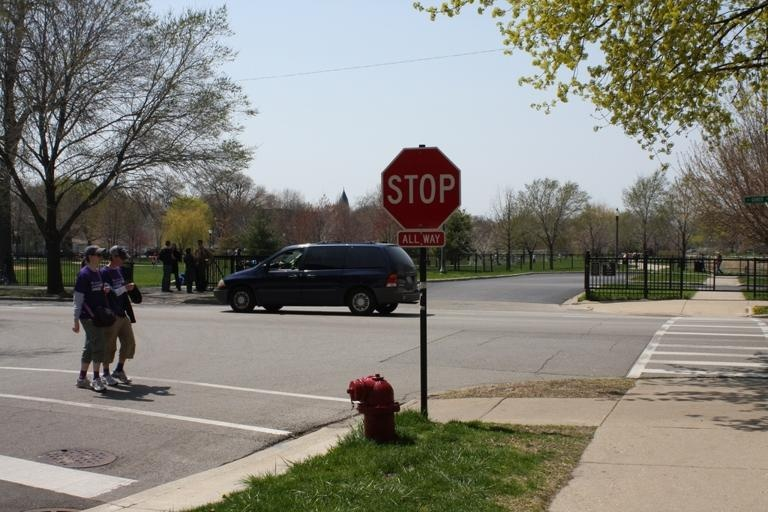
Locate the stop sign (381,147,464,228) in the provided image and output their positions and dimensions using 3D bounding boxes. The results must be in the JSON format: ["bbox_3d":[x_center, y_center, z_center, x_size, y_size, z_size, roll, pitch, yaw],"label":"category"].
[{"bbox_3d":[0.554,-1.040,11.801,1.168,1.278,0.548,0,6,1],"label":"stop sign"}]

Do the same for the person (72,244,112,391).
[{"bbox_3d":[-5.443,1.167,14.239,0.651,2.628,0.875,2,1,-15],"label":"person"}]

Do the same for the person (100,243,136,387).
[{"bbox_3d":[-5.081,1.157,14.717,0.694,2.546,0.664,-1,-2,-16],"label":"person"}]

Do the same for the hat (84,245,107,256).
[{"bbox_3d":[-5.394,-0.099,14.290,0.365,0.147,0.231,-7,8,-33],"label":"hat"}]

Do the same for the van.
[{"bbox_3d":[-2.207,0.976,25.365,6.437,2.307,2.928,-1,-8,19],"label":"van"}]
